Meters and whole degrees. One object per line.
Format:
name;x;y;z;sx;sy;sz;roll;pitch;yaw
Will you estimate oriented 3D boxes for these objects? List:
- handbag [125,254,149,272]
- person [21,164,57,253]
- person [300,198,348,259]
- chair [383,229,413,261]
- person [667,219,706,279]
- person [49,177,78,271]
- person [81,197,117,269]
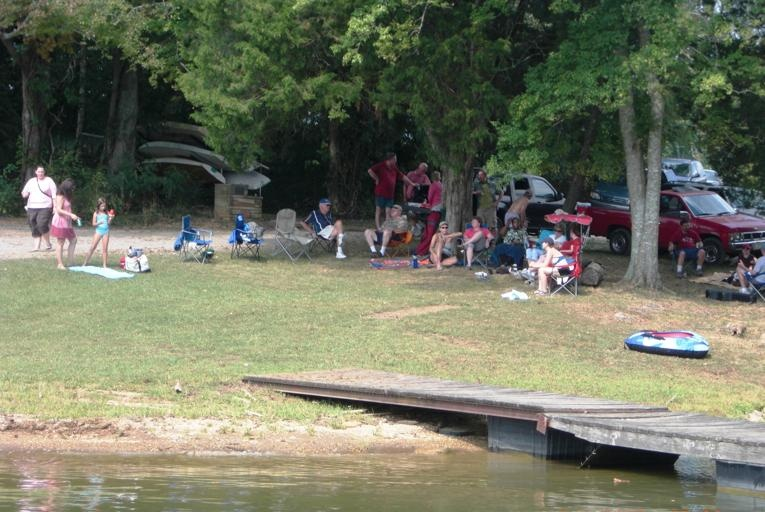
handbag;-6.530;0.217;37.505;0.558;0.428;0.392;4;-1;4
person;-9.424;-1.321;38.856;0.988;2.478;1.232;0;0;-12
person;-1.549;-0.804;41.790;1.440;1.851;0.971;-11;-3;40
chair;0.442;-0.330;42.301;0.817;0.788;0.863;12;-14;-41
person;8.906;-0.279;41.417;0.855;1.883;1.237;-1;0;12
person;-8.390;-0.799;37.259;0.871;2.312;0.965;1;0;-12
person;-7.482;-0.685;37.867;1.019;2.116;0.786;0;0;35
